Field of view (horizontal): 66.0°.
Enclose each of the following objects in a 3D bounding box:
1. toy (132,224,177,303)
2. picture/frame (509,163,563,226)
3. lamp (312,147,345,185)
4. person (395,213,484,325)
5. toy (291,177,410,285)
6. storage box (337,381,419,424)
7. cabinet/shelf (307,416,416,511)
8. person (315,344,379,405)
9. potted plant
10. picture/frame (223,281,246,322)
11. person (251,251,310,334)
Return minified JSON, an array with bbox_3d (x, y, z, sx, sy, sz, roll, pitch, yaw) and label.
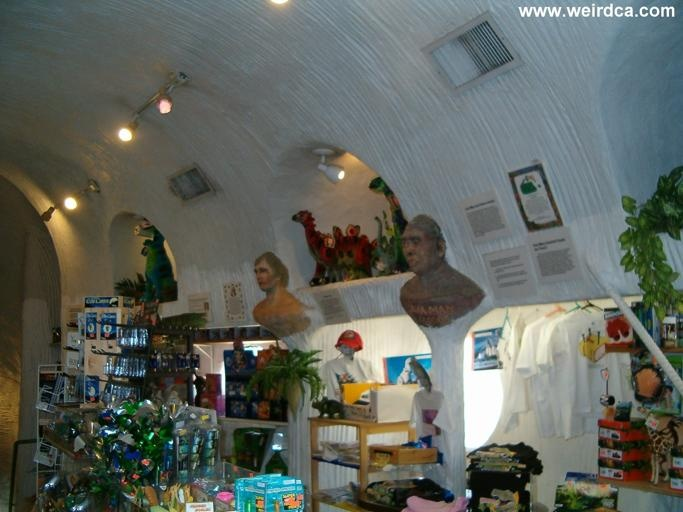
[{"bbox_3d":[-3.161,0.165,8.972,0.612,1.311,0.786,-3,-15,-16],"label":"toy"},{"bbox_3d":[1.555,-0.464,4.228,0.276,0.534,0.056,-12,28,34],"label":"picture/frame"},{"bbox_3d":[-0.133,-0.979,5.709,0.291,0.306,0.213,15,30,16],"label":"lamp"},{"bbox_3d":[0.942,0.114,4.894,0.500,1.092,0.855,4,-12,-27],"label":"person"},{"bbox_3d":[0.172,-0.214,6.177,0.505,1.221,1.680,7,-22,-43],"label":"toy"},{"bbox_3d":[0.395,1.388,4.987,0.450,0.275,0.481,0,-1,-16],"label":"storage box"},{"bbox_3d":[0.142,2.091,5.456,0.968,0.955,1.632,-6,-16,-8],"label":"cabinet/shelf"},{"bbox_3d":[0.047,1.302,6.018,0.708,0.735,0.421,-13,-32,4],"label":"person"},{"bbox_3d":[-0.638,1.499,6.373,0.797,0.795,0.815,-9,-14,39],"label":"potted plant"},{"bbox_3d":[-1.528,0.632,7.541,0.500,0.741,0.050,-4,-4,43],"label":"picture/frame"},{"bbox_3d":[-0.873,0.482,6.906,0.748,1.244,0.559,-3,5,25],"label":"person"}]
